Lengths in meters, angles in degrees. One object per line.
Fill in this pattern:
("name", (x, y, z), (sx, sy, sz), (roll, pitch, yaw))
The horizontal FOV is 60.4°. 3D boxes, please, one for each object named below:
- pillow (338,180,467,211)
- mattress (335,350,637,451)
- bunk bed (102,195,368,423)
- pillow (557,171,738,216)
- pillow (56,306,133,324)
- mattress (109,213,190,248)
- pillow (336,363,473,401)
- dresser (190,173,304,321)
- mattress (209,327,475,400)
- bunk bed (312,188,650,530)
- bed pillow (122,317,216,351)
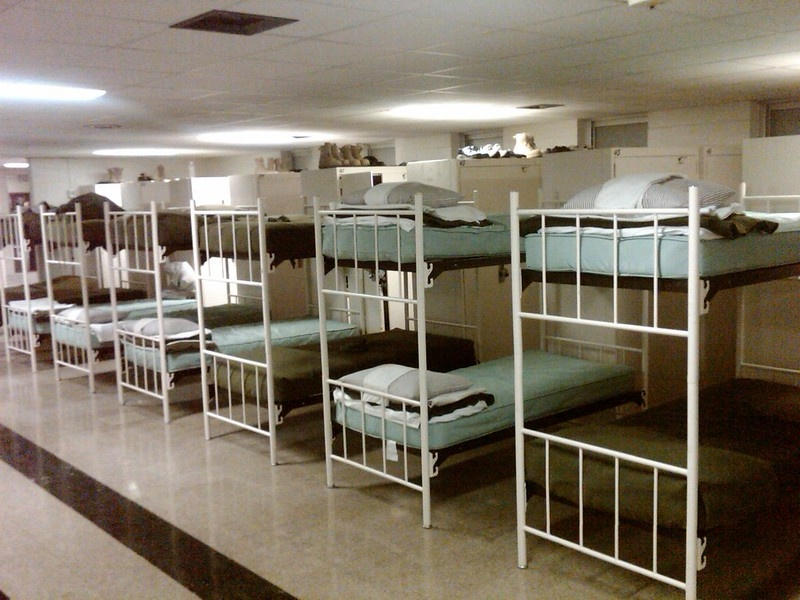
("pillow", (0.082, -0.795, 5.240), (0.587, 0.119, 0.470), (-7, 9, -42))
("mattress", (0.838, 0.697, 5.002), (1.754, 0.201, 0.942), (-8, 9, -37))
("bunk bed", (-1.627, 0.138, 6.791), (2.075, 1.908, 3.247), (-8, 11, -37))
("pillow", (1.506, -0.666, 4.337), (0.758, 0.148, 0.636), (1, 7, 36))
("pillow", (-3.573, 0.169, 7.903), (0.508, 0.084, 0.504), (3, 5, 39))
("mattress", (-2.597, -0.718, 7.154), (0.759, 0.220, 0.673), (3, 3, 28))
("pillow", (0.046, 0.547, 4.814), (0.554, 0.268, 0.738), (-13, 16, -40))
("dresser", (-1.333, -0.559, 6.607), (1.031, 0.564, 1.136), (-12, 17, 4))
("mattress", (-0.426, 0.515, 6.054), (1.649, 0.294, 0.977), (-7, 8, -34))
("bunk bed", (0.722, 0.336, 5.233), (2.300, 1.172, 1.192), (-10, 18, -37))
("bed pillow", (-2.300, 0.316, 6.650), (0.731, 0.145, 0.479), (2, 4, 43))
